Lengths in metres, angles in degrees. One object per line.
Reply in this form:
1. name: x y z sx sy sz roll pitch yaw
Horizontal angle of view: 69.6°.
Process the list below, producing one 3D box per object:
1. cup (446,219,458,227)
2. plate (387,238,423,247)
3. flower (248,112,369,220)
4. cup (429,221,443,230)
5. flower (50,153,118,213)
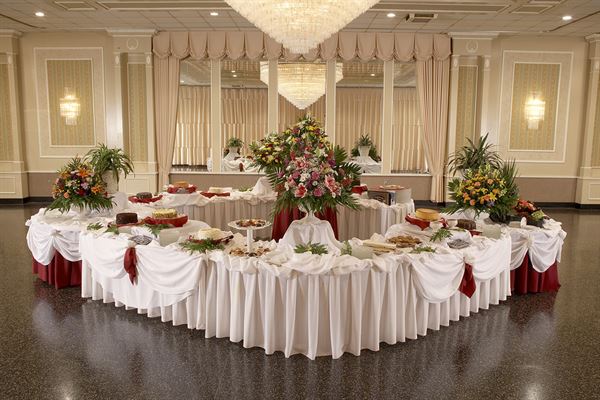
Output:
1. cup: 2.108 0.325 6.004 0.099 0.075 0.101 -1 3 0
2. plate: 1.295 0.514 5.317 0.190 0.046 0.190 -6 12 -21
3. flower: -0.007 -0.416 5.581 1.350 1.203 1.339 -5 19 -38
4. cup: 1.796 0.343 5.767 0.116 0.097 0.115 -1 0 0
5. flower: -3.258 -0.241 6.556 0.820 0.738 0.837 5 14 3
